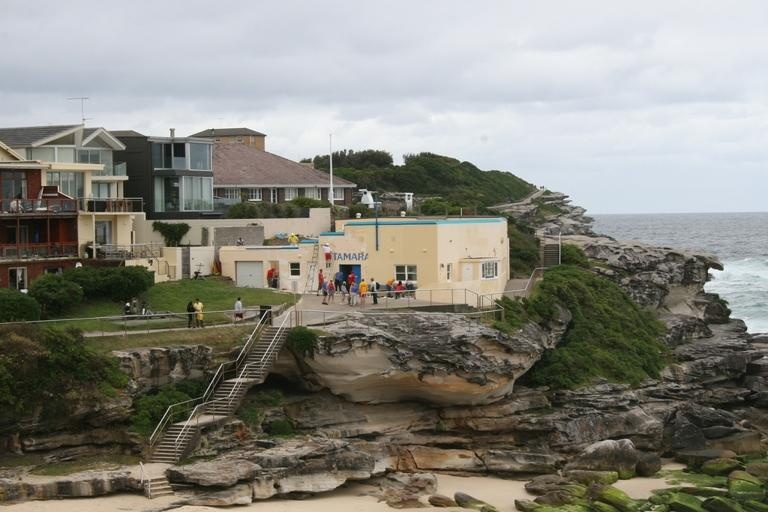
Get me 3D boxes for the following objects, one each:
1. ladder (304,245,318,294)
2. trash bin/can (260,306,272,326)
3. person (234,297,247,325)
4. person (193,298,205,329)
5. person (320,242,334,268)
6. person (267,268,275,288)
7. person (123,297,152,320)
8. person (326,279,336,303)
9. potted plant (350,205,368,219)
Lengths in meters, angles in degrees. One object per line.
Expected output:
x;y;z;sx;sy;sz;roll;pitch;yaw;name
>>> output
-5.332;0.880;64.238;1.146;3.413;0.654;0;3;20;ladder
-7.360;3.723;54.167;0.697;1.119;1.007;-1;3;-12;trash bin/can
-9.219;3.343;54.994;0.610;1.417;1.985;-1;3;-8;person
-11.437;3.602;53.776;0.600;1.441;1.314;-1;3;-12;person
-4.213;-0.021;63.688;0.861;1.824;0.550;0;3;15;person
-8.540;1.644;65.421;0.689;1.423;1.078;-1;3;-9;person
-16.078;3.350;55.787;1.522;0.639;1.887;-2;3;-37;person
-3.680;2.458;59.449;0.468;1.396;1.360;-1;3;-4;person
-2.517;-4.415;86.413;2.357;1.342;2.149;3;2;-2;potted plant
